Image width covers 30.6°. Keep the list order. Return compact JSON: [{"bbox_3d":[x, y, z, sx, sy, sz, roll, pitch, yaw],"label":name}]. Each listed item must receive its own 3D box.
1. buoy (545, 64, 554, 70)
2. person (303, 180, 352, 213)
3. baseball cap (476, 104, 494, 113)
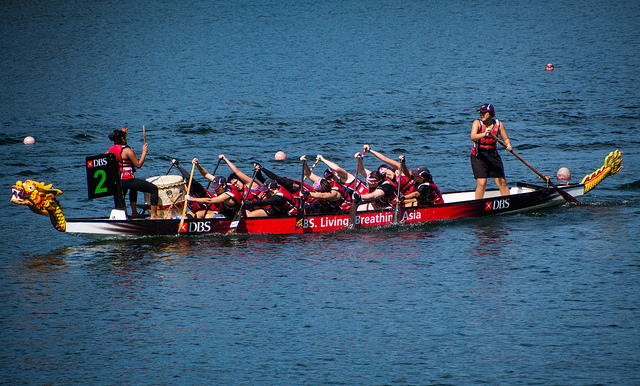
[{"bbox_3d":[13.492,-7.425,68.853,0.527,0.143,0.606,3,16,14],"label":"buoy"},{"bbox_3d":[0.456,0.148,47.040,2.338,0.588,1.071,15,10,-22],"label":"person"},{"bbox_3d":[6.744,-3.480,47.509,0.702,0.230,0.346,-1,-1,-9],"label":"baseball cap"}]
